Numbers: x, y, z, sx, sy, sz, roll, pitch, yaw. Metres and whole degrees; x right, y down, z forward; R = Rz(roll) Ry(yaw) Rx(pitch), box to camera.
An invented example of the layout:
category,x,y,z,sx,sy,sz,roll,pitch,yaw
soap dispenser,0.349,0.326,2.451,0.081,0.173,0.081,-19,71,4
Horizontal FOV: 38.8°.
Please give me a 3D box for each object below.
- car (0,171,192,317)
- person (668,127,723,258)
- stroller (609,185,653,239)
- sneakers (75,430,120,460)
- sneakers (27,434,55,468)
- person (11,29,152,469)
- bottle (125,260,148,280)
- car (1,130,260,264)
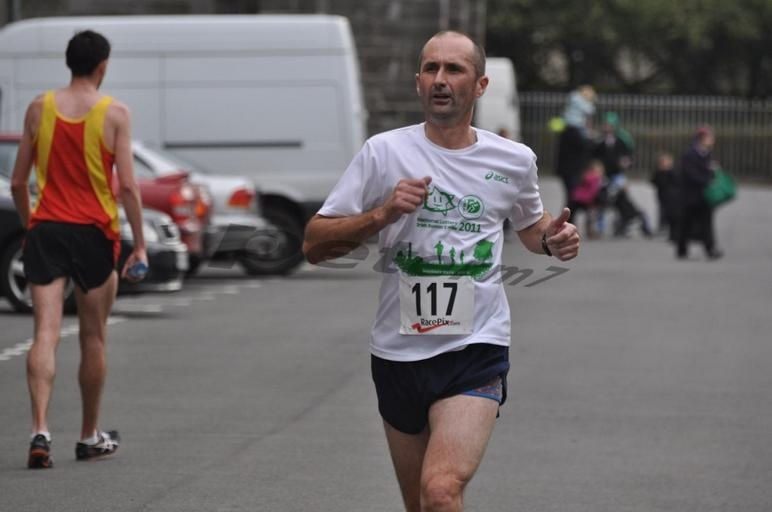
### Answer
category,x,y,z,sx,sy,sz,roll,pitch,yaw
car,-2.519,-0.090,9.445,2.032,1.002,1.070,-2,5,-5
person,4.594,-0.939,16.102,0.629,1.904,0.635,3,9,16
stroller,4.200,-0.841,19.410,0.807,1.159,0.830,-2,9,3
sneakers,-1.838,1.213,7.095,0.133,0.152,0.302,7,13,32
sneakers,-2.133,1.212,6.791,0.110,0.136,0.262,0,-16,-1
person,-1.913,-0.035,6.880,0.782,2.726,0.520,-2,9,-20
bottle,-1.548,0.093,6.834,0.097,0.050,0.127,-2,23,22
car,-2.318,-0.576,10.800,2.483,0.903,1.208,3,4,3
